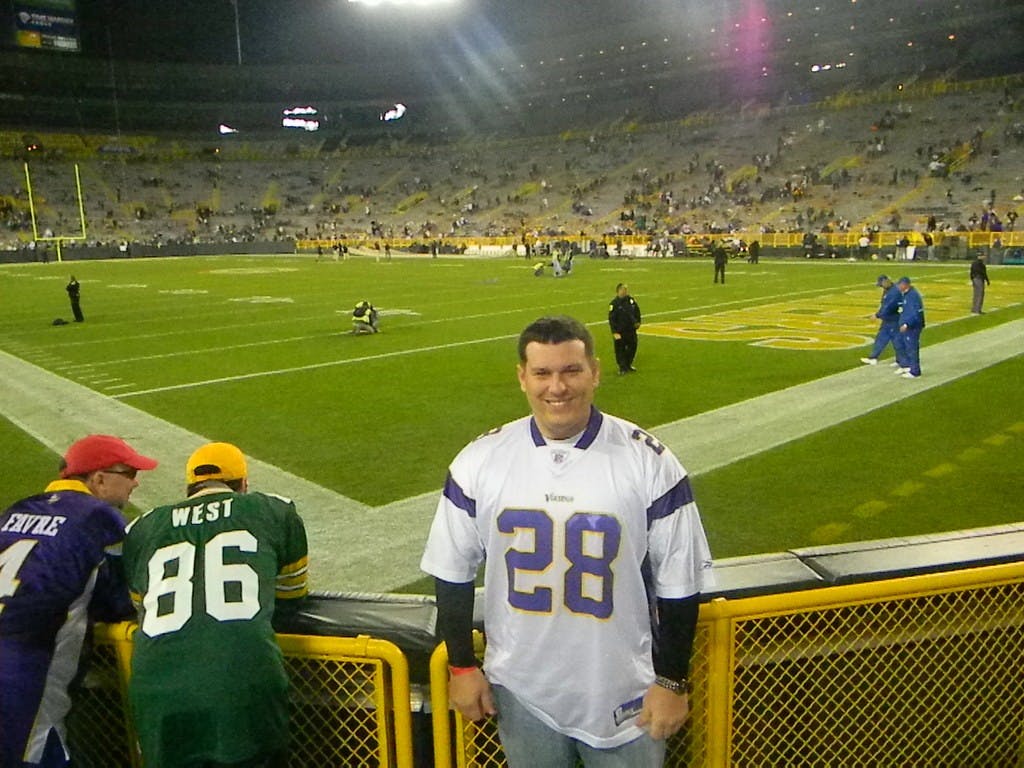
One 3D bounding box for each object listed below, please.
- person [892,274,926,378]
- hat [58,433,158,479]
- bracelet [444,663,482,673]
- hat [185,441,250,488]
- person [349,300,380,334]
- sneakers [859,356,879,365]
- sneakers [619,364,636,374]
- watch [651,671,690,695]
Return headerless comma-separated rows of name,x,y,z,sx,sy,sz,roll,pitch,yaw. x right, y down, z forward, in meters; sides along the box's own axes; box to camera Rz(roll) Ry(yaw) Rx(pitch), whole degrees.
person,5.881,-0.872,12.984,0.317,1.428,1.145,-1,9,25
hat,-1.923,0.340,4.187,0.339,0.160,0.212,5,-1,-34
bracelet,-0.200,1.114,3.429,0.085,0.035,0.047,4,-9,-6
hat,-1.465,0.368,4.047,0.280,0.198,0.434,5,-3,-1
person,-3.221,-1.448,19.022,0.627,0.383,1.035,-1,13,-9
sneakers,5.680,-0.369,13.962,0.116,0.127,0.311,2,6,-3
sneakers,1.817,-0.237,13.846,0.097,0.136,0.327,-15,-14,41
watch,0.610,1.150,3.367,0.104,0.054,0.103,1,0,-39
